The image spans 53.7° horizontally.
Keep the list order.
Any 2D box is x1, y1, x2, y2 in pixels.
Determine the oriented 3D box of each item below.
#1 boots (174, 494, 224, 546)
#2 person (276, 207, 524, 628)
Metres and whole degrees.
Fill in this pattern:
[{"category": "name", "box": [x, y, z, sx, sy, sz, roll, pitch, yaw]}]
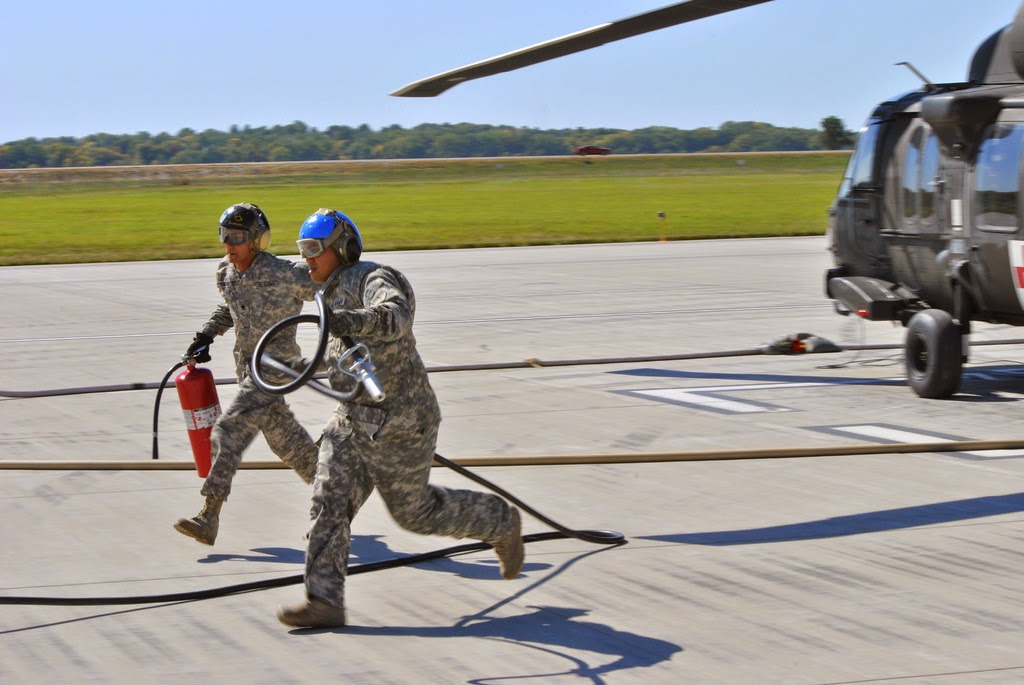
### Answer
[{"category": "boots", "box": [-1.952, 1.144, 6.361, 0.272, 0.398, 0.326, -2, 11, -8]}, {"category": "person", "box": [-0.780, 0.417, 5.609, 1.321, 2.273, 0.645, -8, 16, -32]}]
